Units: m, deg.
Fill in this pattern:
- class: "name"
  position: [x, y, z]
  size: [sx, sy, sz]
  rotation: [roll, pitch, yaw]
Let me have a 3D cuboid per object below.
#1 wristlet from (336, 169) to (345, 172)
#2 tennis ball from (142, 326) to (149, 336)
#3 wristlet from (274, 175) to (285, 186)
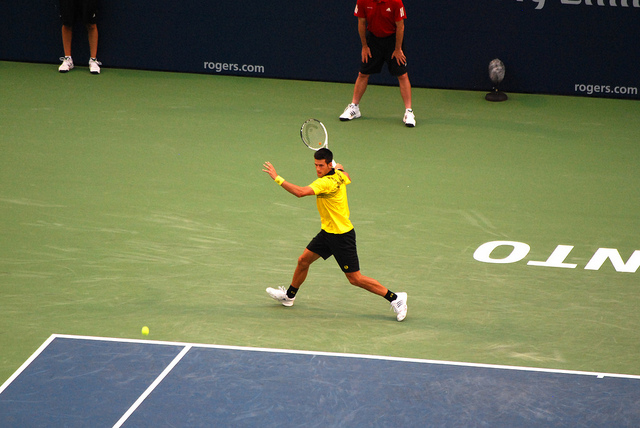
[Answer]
- class: "wristlet"
  position: [0.270, -0.589, 7.692]
  size: [0.057, 0.038, 0.151]
  rotation: [5, 15, 20]
- class: "tennis ball"
  position: [-2.219, 1.478, 7.456]
  size: [0.081, 0.096, 0.100]
  rotation: [4, 14, -6]
- class: "wristlet"
  position: [-0.511, -0.430, 7.272]
  size: [0.091, 0.063, 0.117]
  rotation: [19, 4, -19]
